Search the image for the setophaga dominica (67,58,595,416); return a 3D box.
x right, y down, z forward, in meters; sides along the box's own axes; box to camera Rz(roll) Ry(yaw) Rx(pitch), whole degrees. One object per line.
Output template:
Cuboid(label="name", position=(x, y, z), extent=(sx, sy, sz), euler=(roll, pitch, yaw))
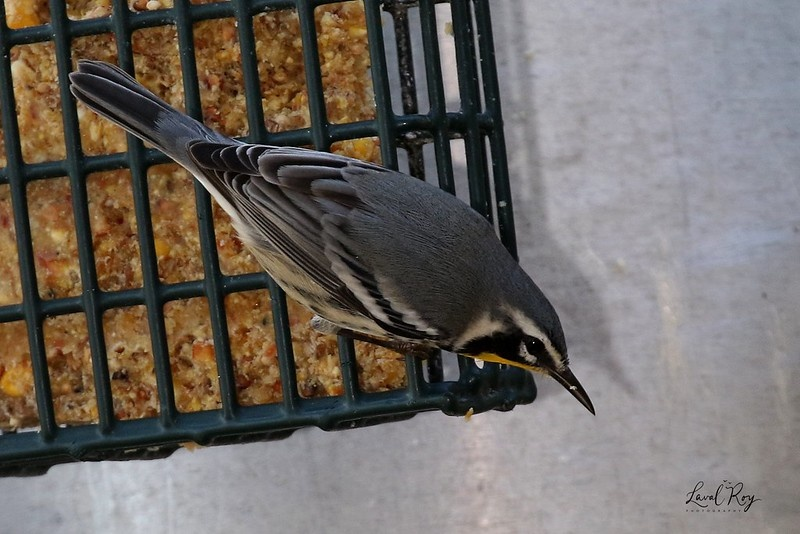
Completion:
Cuboid(label="setophaga dominica", position=(-0.107, -0.155, 4.767), extent=(2.394, 0.712, 0.721), euler=(32, -14, -6))
